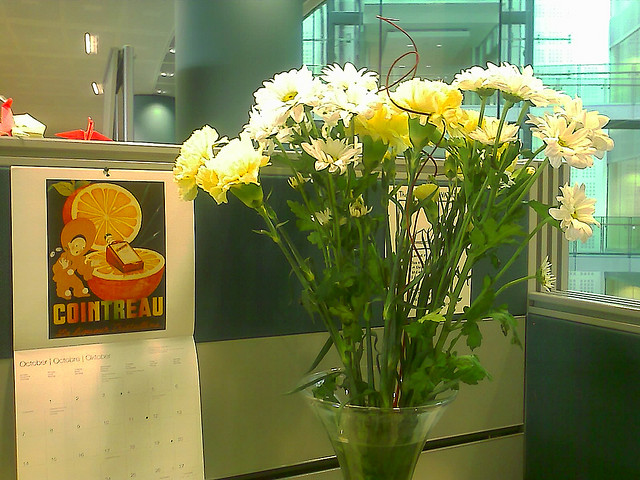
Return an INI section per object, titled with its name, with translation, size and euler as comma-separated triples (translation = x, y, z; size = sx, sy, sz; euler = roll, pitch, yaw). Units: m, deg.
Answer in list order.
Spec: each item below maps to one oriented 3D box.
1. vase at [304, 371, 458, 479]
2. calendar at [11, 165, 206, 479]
[vase]
translation = 0.084, 0.259, 0.732
size = 0.169, 0.158, 0.194
euler = 2, -5, 10
[calendar]
translation = -0.401, 0.166, 0.889
size = 0.326, 0.624, 0.064
euler = -3, 4, -16
